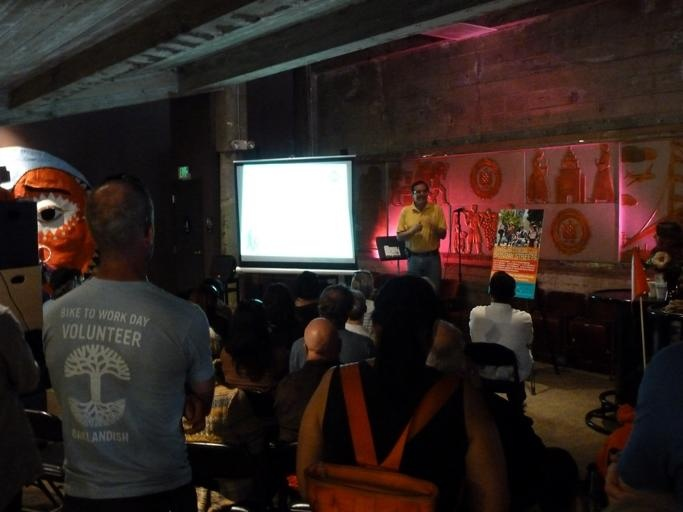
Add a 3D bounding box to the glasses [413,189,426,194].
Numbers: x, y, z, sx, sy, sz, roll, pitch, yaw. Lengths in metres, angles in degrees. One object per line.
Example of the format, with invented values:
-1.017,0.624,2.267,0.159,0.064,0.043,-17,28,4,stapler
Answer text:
0.946,-0.784,6.749,0.134,0.048,0.042,1,4,7,glasses
